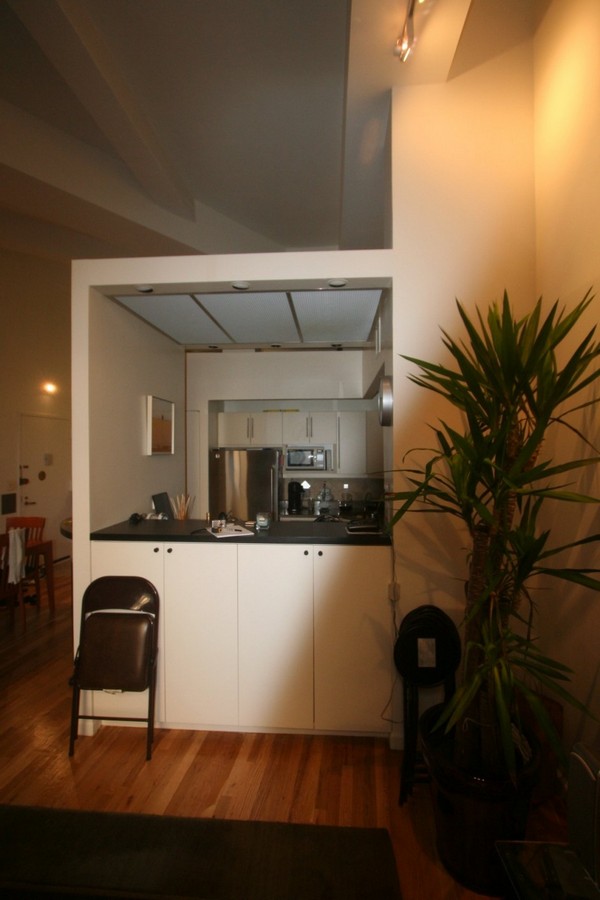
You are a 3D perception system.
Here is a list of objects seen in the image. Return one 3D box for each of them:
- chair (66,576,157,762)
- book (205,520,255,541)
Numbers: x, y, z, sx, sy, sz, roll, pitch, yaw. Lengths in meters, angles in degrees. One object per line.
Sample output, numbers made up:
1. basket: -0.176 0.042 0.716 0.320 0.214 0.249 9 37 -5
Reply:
1. chair: -0.832 0.960 2.851 0.378 0.740 0.359 0 1 -7
2. book: -0.342 0.386 3.099 0.218 0.051 0.375 0 2 -9
